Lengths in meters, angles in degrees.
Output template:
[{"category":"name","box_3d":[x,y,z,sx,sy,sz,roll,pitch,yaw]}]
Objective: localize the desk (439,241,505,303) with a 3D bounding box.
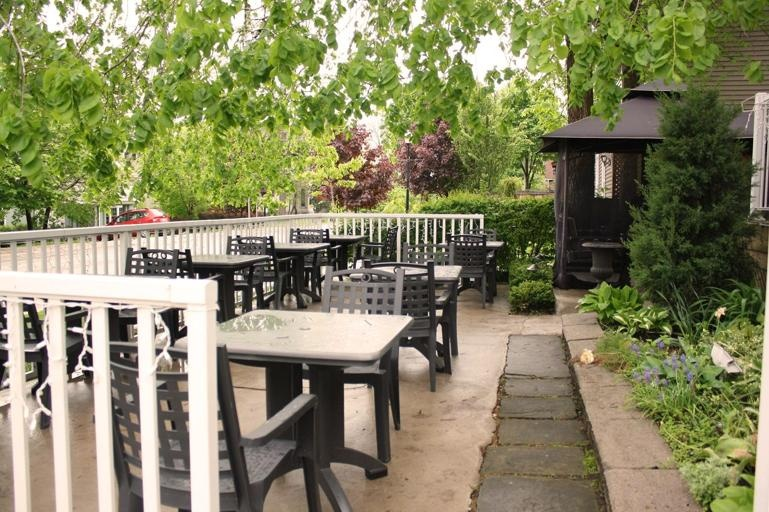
[{"category":"desk","box_3d":[1.543,0.199,9.669,0.810,0.798,0.792,8,11,-29]}]

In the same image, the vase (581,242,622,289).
[{"category":"vase","box_3d":[3.441,0.169,9.765,0.617,0.712,0.639,3,1,35]}]
